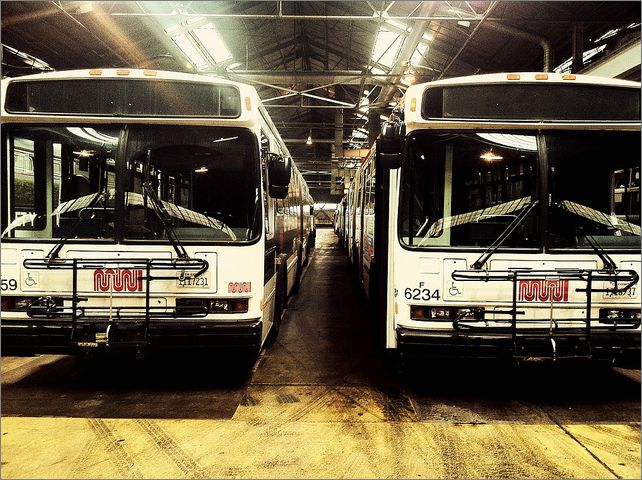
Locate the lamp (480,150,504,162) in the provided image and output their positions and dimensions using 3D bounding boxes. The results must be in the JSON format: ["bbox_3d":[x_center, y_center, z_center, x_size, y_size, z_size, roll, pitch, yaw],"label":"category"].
[{"bbox_3d":[2.220,-1.082,7.874,0.376,0.137,0.140,3,0,10],"label":"lamp"}]
